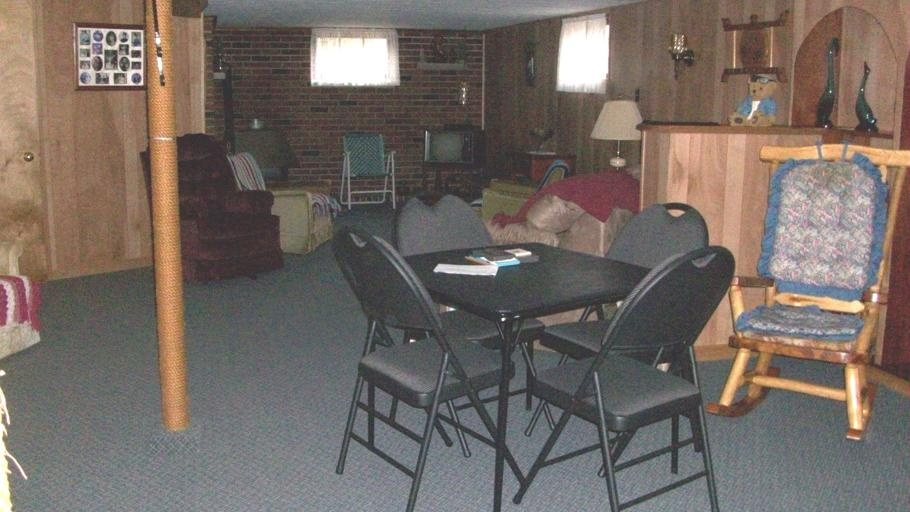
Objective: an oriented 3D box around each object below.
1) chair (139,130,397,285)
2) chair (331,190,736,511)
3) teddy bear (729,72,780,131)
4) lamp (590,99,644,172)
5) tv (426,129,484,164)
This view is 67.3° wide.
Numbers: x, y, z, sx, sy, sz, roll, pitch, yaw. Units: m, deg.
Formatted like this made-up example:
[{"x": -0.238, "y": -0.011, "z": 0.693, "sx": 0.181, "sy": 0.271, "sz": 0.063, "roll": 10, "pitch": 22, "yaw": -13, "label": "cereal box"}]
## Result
[{"x": -2.119, "y": -0.623, "z": 7.867, "sx": 1.722, "sy": 1.762, "sz": 1.629, "roll": 4, "pitch": 10, "yaw": 28, "label": "chair"}, {"x": 0.313, "y": 0.474, "z": 4.789, "sx": 2.266, "sy": 1.695, "sz": 1.708, "roll": -10, "pitch": 16, "yaw": -35, "label": "chair"}, {"x": 2.686, "y": -1.384, "z": 6.117, "sx": 0.409, "sy": 0.402, "sz": 0.402, "roll": -8, "pitch": 22, "yaw": -4, "label": "teddy bear"}, {"x": 1.968, "y": -1.447, "z": 8.350, "sx": 0.536, "sy": 0.911, "sz": 0.893, "roll": 5, "pitch": 19, "yaw": 13, "label": "lamp"}, {"x": -0.022, "y": -1.792, "z": 11.165, "sx": 0.961, "sy": 0.551, "sz": 0.630, "roll": 2, "pitch": 8, "yaw": 10, "label": "tv"}]
